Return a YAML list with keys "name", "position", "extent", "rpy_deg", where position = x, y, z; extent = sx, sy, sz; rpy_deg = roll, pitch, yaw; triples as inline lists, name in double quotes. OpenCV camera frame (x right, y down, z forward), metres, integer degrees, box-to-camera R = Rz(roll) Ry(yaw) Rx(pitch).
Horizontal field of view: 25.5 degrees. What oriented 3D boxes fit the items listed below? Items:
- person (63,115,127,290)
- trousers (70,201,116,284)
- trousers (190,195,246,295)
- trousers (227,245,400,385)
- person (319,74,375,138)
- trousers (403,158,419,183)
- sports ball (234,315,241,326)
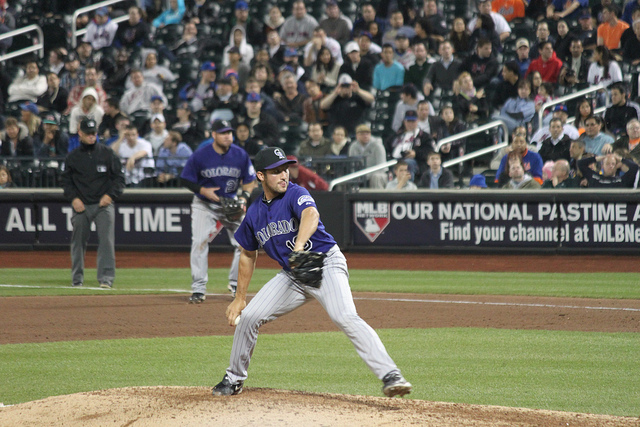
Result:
- name: "person"
  position: [-4.321, -0.114, 27.016]
  extent: [1.160, 3.330, 0.768]
  rpy_deg: [-2, 13, -8]
- name: "trousers"
  position: [-4.357, 0.606, 27.195]
  extent: [0.730, 1.676, 1.047]
  rpy_deg: [0, -4, -3]
- name: "trousers"
  position: [-1.975, 0.629, 26.554]
  extent: [0.943, 2.008, 1.245]
  rpy_deg: [0, -6, -9]
- name: "trousers"
  position: [-0.167, 1.875, 23.893]
  extent: [2.022, 2.130, 0.614]
  rpy_deg: [-10, -38, 7]
- name: "person"
  position: [0.590, -2.403, 31.862]
  extent: [1.156, 1.376, 0.453]
  rpy_deg: [0, 13, 0]
- name: "trousers"
  position: [1.991, -0.912, 30.641]
  extent: [0.406, 0.581, 0.435]
  rpy_deg: [1, -4, -14]
- name: "sports ball"
  position: [-1.347, 1.792, 22.847]
  extent: [0.090, 0.121, 0.118]
  rpy_deg: [20, -45, -4]
